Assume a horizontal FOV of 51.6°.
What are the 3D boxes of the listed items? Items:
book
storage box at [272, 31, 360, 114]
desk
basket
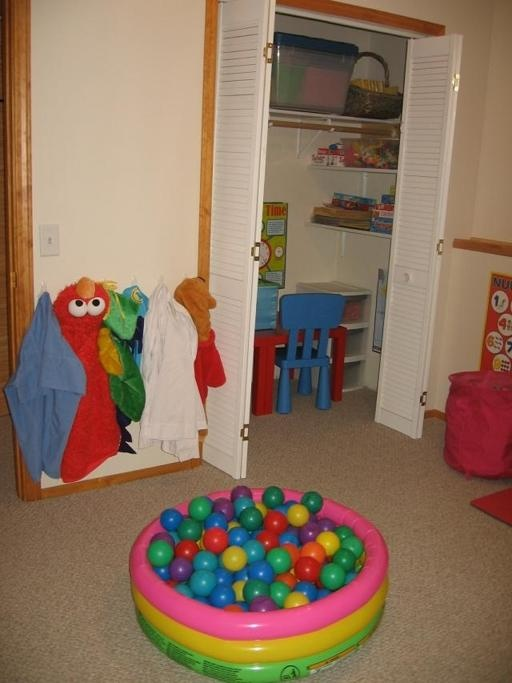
[{"bbox_3d":[0.740,-0.971,3.838,0.251,0.326,0.862,-9,24,-29],"label":"book"},{"bbox_3d":[0.277,-1.680,3.376,0.586,0.375,0.415,-10,24,-29],"label":"storage box"},{"bbox_3d":[0.279,0.123,3.905,0.624,0.490,0.652,-4,12,-16],"label":"desk"},{"bbox_3d":[0.850,-1.785,3.698,0.383,0.531,0.531,11,14,18],"label":"basket"}]
